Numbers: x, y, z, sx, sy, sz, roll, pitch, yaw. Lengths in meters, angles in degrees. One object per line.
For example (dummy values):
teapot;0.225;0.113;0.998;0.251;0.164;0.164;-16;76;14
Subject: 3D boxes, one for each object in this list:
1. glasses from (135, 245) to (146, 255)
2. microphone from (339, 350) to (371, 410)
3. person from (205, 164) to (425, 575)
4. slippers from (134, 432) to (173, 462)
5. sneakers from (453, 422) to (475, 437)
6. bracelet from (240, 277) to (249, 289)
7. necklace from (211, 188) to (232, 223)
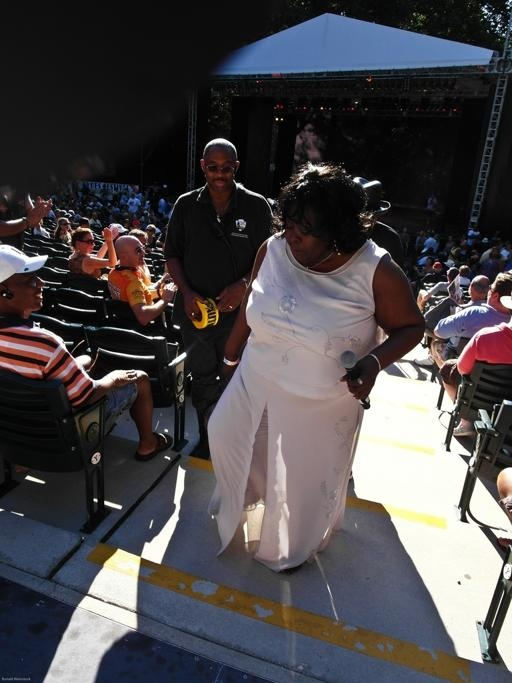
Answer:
glasses;-0.789;-0.621;3.368;0.045;0.024;0.056;20;-11;-20
microphone;0.309;0.114;1.589;0.072;0.247;0.070;-37;53;-2
person;0.146;0.156;1.809;0.703;1.512;0.430;18;25;27
slippers;-0.550;0.569;2.698;0.091;0.065;0.199;10;18;22
sneakers;1.413;0.606;3.412;0.073;0.074;0.178;14;-7;-13
bracelet;-0.069;-0.340;2.831;0.051;0.022;0.061;2;63;-9
necklace;-0.214;-0.767;2.750;0.122;0.153;0.059;1;20;2
